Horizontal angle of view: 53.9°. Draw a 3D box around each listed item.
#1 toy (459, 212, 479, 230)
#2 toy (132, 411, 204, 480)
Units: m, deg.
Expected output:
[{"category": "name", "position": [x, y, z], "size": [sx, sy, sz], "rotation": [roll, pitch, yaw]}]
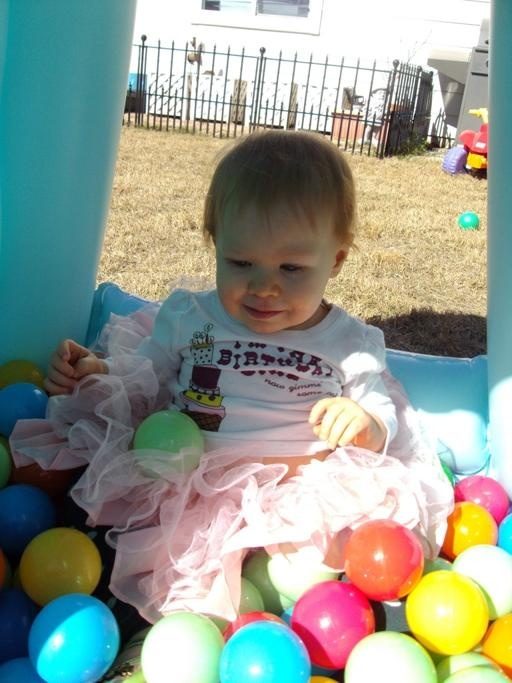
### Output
[{"category": "toy", "position": [1.922, -1.084, 4.535], "size": [0.131, 0.153, 0.134], "rotation": [-20, 38, 22]}, {"category": "toy", "position": [-0.186, 0.222, 1.115], "size": [0.167, 0.104, 0.144], "rotation": [5, 14, -12]}]
